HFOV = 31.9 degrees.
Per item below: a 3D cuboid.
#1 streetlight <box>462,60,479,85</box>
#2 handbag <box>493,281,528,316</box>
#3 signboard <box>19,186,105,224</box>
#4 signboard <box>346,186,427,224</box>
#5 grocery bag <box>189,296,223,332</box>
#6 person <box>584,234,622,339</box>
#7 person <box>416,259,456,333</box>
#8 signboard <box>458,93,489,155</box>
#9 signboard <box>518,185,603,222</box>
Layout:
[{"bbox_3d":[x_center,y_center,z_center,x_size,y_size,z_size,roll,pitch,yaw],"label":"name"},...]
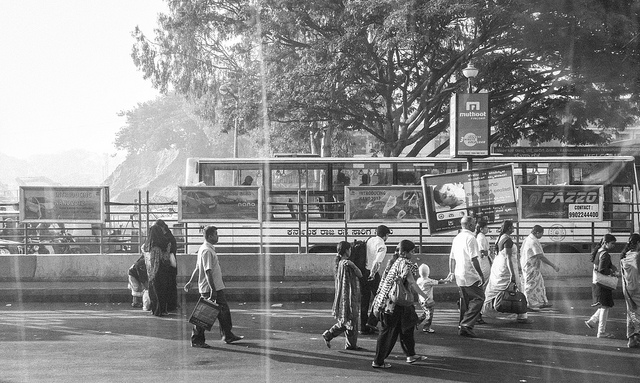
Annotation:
[{"bbox_3d":[5.920,-4.671,44.679,0.466,0.869,0.535,0,-4,7],"label":"streetlight"},{"bbox_3d":[6.663,3.725,39.862,1.247,1.173,0.506,2,-8,2],"label":"handbag"},{"bbox_3d":[-10.136,0.446,44.115,3.300,1.416,0.336,0,-4,1],"label":"signboard"},{"bbox_3d":[2.530,0.444,44.510,3.056,1.470,0.602,0,-4,1],"label":"signboard"},{"bbox_3d":[-3.869,4.135,38.323,0.857,1.053,0.608,29,8,-7],"label":"grocery bag"},{"bbox_3d":[9.809,3.226,39.035,1.397,3.498,1.190,0,0,-22],"label":"person"},{"bbox_3d":[3.689,3.698,39.820,1.336,2.743,1.135,1,-1,-44],"label":"person"},{"bbox_3d":[5.806,-2.627,43.097,1.129,2.299,0.279,0,-4,3],"label":"signboard"},{"bbox_3d":[9.443,0.392,44.561,3.267,1.431,0.491,0,-4,8],"label":"signboard"}]
